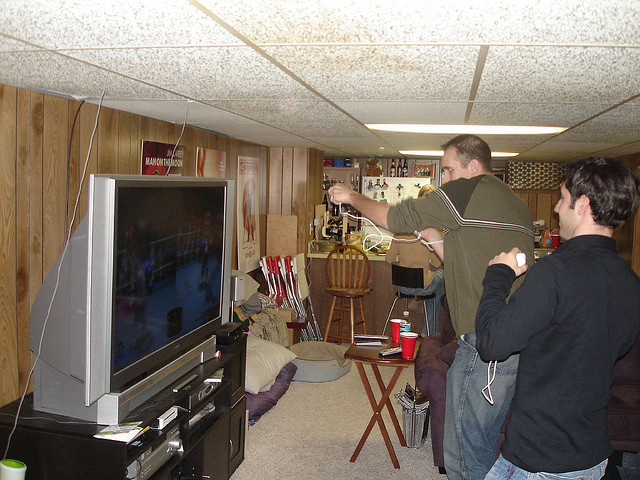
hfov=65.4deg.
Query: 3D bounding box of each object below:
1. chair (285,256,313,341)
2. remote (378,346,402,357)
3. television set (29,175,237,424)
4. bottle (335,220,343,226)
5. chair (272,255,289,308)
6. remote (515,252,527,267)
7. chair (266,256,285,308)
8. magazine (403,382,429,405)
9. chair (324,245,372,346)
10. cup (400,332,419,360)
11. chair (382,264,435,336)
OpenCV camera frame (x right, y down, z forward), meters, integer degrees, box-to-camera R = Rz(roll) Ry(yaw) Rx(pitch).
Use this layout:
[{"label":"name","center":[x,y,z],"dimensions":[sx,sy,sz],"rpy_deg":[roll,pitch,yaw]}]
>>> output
[{"label":"chair","center":[-0.233,0.588,5.732],"dimensions":[0.115,0.845,0.104],"rpy_deg":[-16,13,5]},{"label":"remote","center":[0.492,0.779,3.485],"dimensions":[0.112,0.022,0.067],"rpy_deg":[-5,0,-12]},{"label":"television set","center":[-1.039,0.244,2.690],"dimensions":[0.684,1.150,1.300],"rpy_deg":[2,4,11]},{"label":"bottle","center":[0.273,-0.244,6.868],"dimensions":[0.075,0.024,0.080],"rpy_deg":[16,44,-16]},{"label":"chair","center":[-0.447,0.468,5.749],"dimensions":[0.144,0.616,0.115],"rpy_deg":[-9,0,-37]},{"label":"remote","center":[0.758,0.069,1.882],"dimensions":[0.010,0.046,0.046],"rpy_deg":[-13,5,12]},{"label":"chair","center":[-0.530,0.502,5.737],"dimensions":[0.114,0.688,0.145],"rpy_deg":[-16,1,41]},{"label":"magazine","center":[0.719,1.161,3.757],"dimensions":[0.090,0.090,0.117],"rpy_deg":[8,6,2]},{"label":"chair","center":[0.324,0.615,5.950],"dimensions":[0.544,1.261,0.872],"rpy_deg":[4,9,5]},{"label":"cup","center":[0.612,0.740,3.507],"dimensions":[0.168,0.185,0.153],"rpy_deg":[1,2,0]},{"label":"chair","center":[0.979,0.653,5.538],"dimensions":[0.554,0.748,0.563],"rpy_deg":[2,-1,4]}]
